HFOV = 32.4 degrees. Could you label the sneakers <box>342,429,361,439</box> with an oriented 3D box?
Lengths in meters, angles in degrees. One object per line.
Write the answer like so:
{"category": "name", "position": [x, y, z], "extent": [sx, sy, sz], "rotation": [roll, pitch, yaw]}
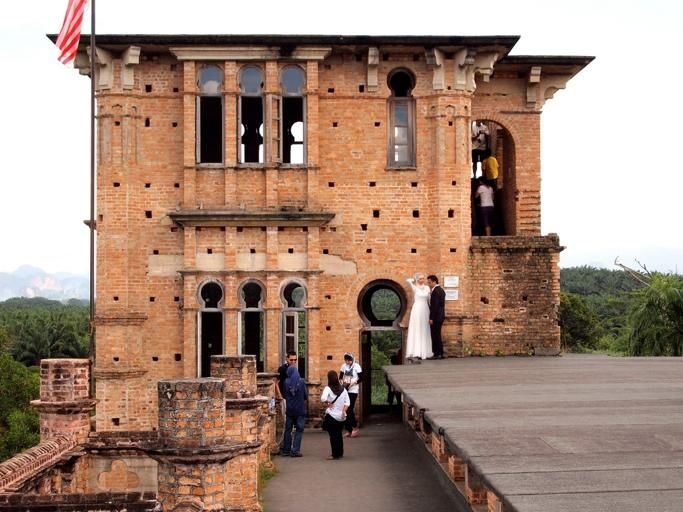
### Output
{"category": "sneakers", "position": [0.344, 5.219, 34.776], "extent": [0.523, 0.250, 0.176], "rotation": [5, -10, -32]}

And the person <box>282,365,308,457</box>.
{"category": "person", "position": [-1.318, 4.182, 32.128], "extent": [0.611, 2.502, 1.229], "rotation": [0, -3, -3]}

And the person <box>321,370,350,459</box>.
{"category": "person", "position": [-0.192, 4.227, 31.429], "extent": [0.695, 2.361, 1.315], "rotation": [0, -3, 0]}

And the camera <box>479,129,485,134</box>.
{"category": "camera", "position": [4.892, -4.344, 41.120], "extent": [0.179, 0.128, 0.136], "rotation": [3, -2, -13]}

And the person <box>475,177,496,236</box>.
{"category": "person", "position": [4.872, -1.723, 40.020], "extent": [0.579, 2.100, 1.544], "rotation": [-1, -3, 8]}

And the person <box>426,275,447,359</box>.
{"category": "person", "position": [2.912, 1.868, 36.281], "extent": [0.451, 2.512, 1.300], "rotation": [0, -3, 5]}

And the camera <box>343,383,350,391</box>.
{"category": "camera", "position": [0.106, 3.594, 32.569], "extent": [0.137, 0.150, 0.186], "rotation": [-8, 9, -23]}
